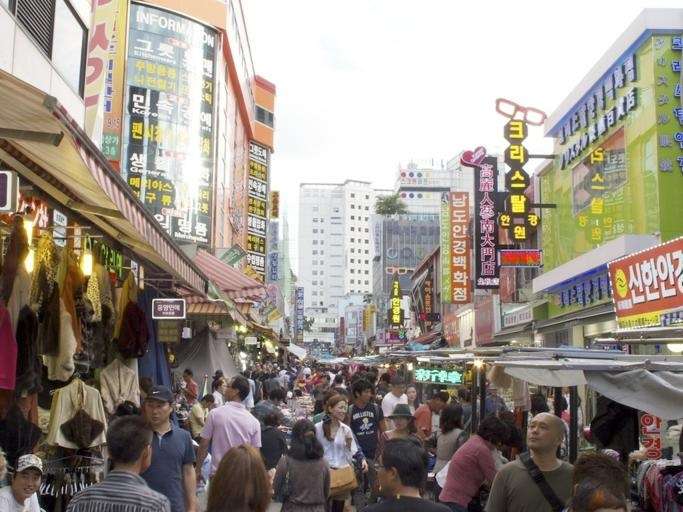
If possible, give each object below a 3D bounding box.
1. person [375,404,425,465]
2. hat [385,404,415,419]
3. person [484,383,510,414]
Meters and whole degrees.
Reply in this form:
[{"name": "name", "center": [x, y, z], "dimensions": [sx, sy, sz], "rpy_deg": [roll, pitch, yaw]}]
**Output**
[{"name": "person", "center": [0.999, 3.011, 12.390], "dimensions": [0.668, 1.631, 0.380], "rpy_deg": [-3, 3, -36]}, {"name": "hat", "center": [0.873, 2.367, 10.566], "dimensions": [0.508, 0.227, 0.617], "rpy_deg": [1, -21, 7]}, {"name": "person", "center": [2.771, 2.550, 12.407], "dimensions": [0.340, 0.561, 1.493], "rpy_deg": [-2, -13, 12]}]
